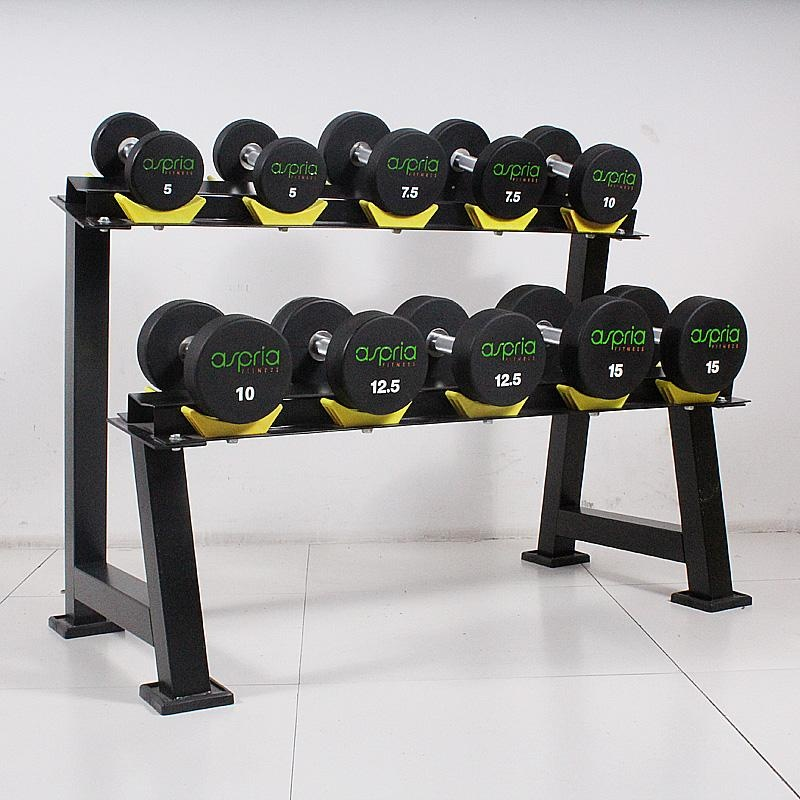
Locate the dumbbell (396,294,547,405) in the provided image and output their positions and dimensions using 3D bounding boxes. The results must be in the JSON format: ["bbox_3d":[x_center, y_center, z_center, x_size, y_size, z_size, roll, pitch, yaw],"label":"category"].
[{"bbox_3d":[0.140,-0.117,1.793,0.172,0.202,0.419,-6,12,-22],"label":"dumbbell"}]

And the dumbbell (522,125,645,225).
[{"bbox_3d":[0.462,-0.594,2.091,0.169,0.178,0.383,-4,26,-21],"label":"dumbbell"}]

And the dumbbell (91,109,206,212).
[{"bbox_3d":[-0.535,-0.507,1.675,0.139,0.155,0.332,-4,24,-34],"label":"dumbbell"}]

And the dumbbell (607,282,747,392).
[{"bbox_3d":[0.682,-0.150,2.037,0.202,0.237,0.346,-4,8,-19],"label":"dumbbell"}]

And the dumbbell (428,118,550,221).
[{"bbox_3d":[0.204,-0.564,1.948,0.176,0.189,0.303,-3,24,-29],"label":"dumbbell"}]

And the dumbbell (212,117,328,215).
[{"bbox_3d":[-0.303,-0.529,1.792,0.140,0.155,0.331,3,21,-32],"label":"dumbbell"}]

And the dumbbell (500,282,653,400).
[{"bbox_3d":[0.376,-0.145,1.957,0.196,0.229,0.474,4,5,-26],"label":"dumbbell"}]
